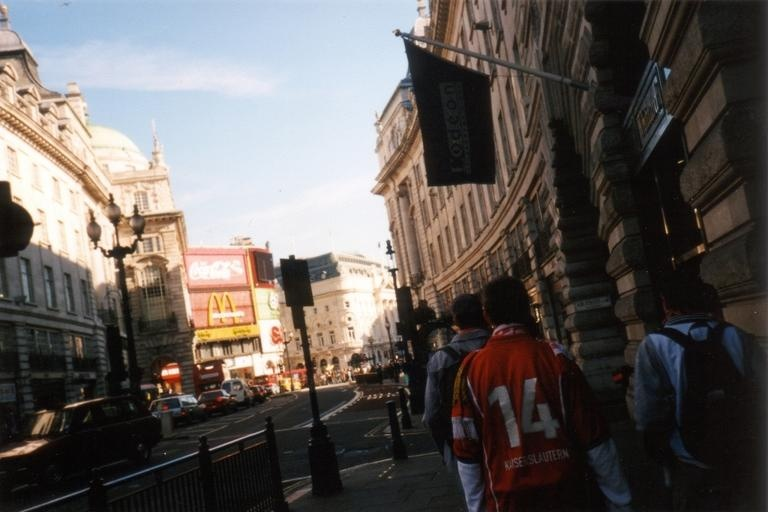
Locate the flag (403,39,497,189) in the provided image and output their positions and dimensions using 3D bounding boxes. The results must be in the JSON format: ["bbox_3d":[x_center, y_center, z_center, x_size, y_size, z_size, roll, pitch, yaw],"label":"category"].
[{"bbox_3d":[1.362,-2.908,13.598,1.723,3.132,0.086,-3,-12,-8],"label":"flag"}]
